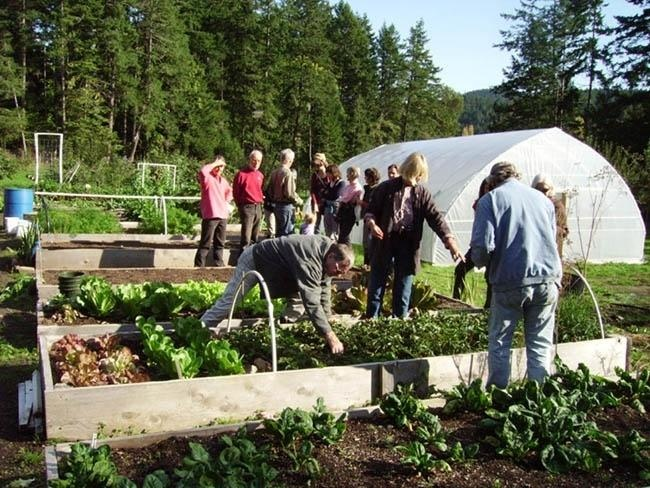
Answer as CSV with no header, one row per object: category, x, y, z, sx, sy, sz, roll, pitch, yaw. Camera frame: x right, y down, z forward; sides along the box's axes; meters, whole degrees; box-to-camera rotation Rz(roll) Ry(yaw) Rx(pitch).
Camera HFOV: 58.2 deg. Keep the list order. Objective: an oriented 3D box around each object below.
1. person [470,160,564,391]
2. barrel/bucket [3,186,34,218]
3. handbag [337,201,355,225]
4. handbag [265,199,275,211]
person,1.765,0.355,5.441,0.822,1.915,0.399,1,5,11
barrel/bucket,-7.803,-1.041,14.993,0.707,0.857,0.764,2,4,0
handbag,0.360,-0.518,9.527,0.301,0.504,0.276,-2,10,5
handbag,-1.018,-0.706,10.646,0.186,0.156,0.187,5,-3,-37
